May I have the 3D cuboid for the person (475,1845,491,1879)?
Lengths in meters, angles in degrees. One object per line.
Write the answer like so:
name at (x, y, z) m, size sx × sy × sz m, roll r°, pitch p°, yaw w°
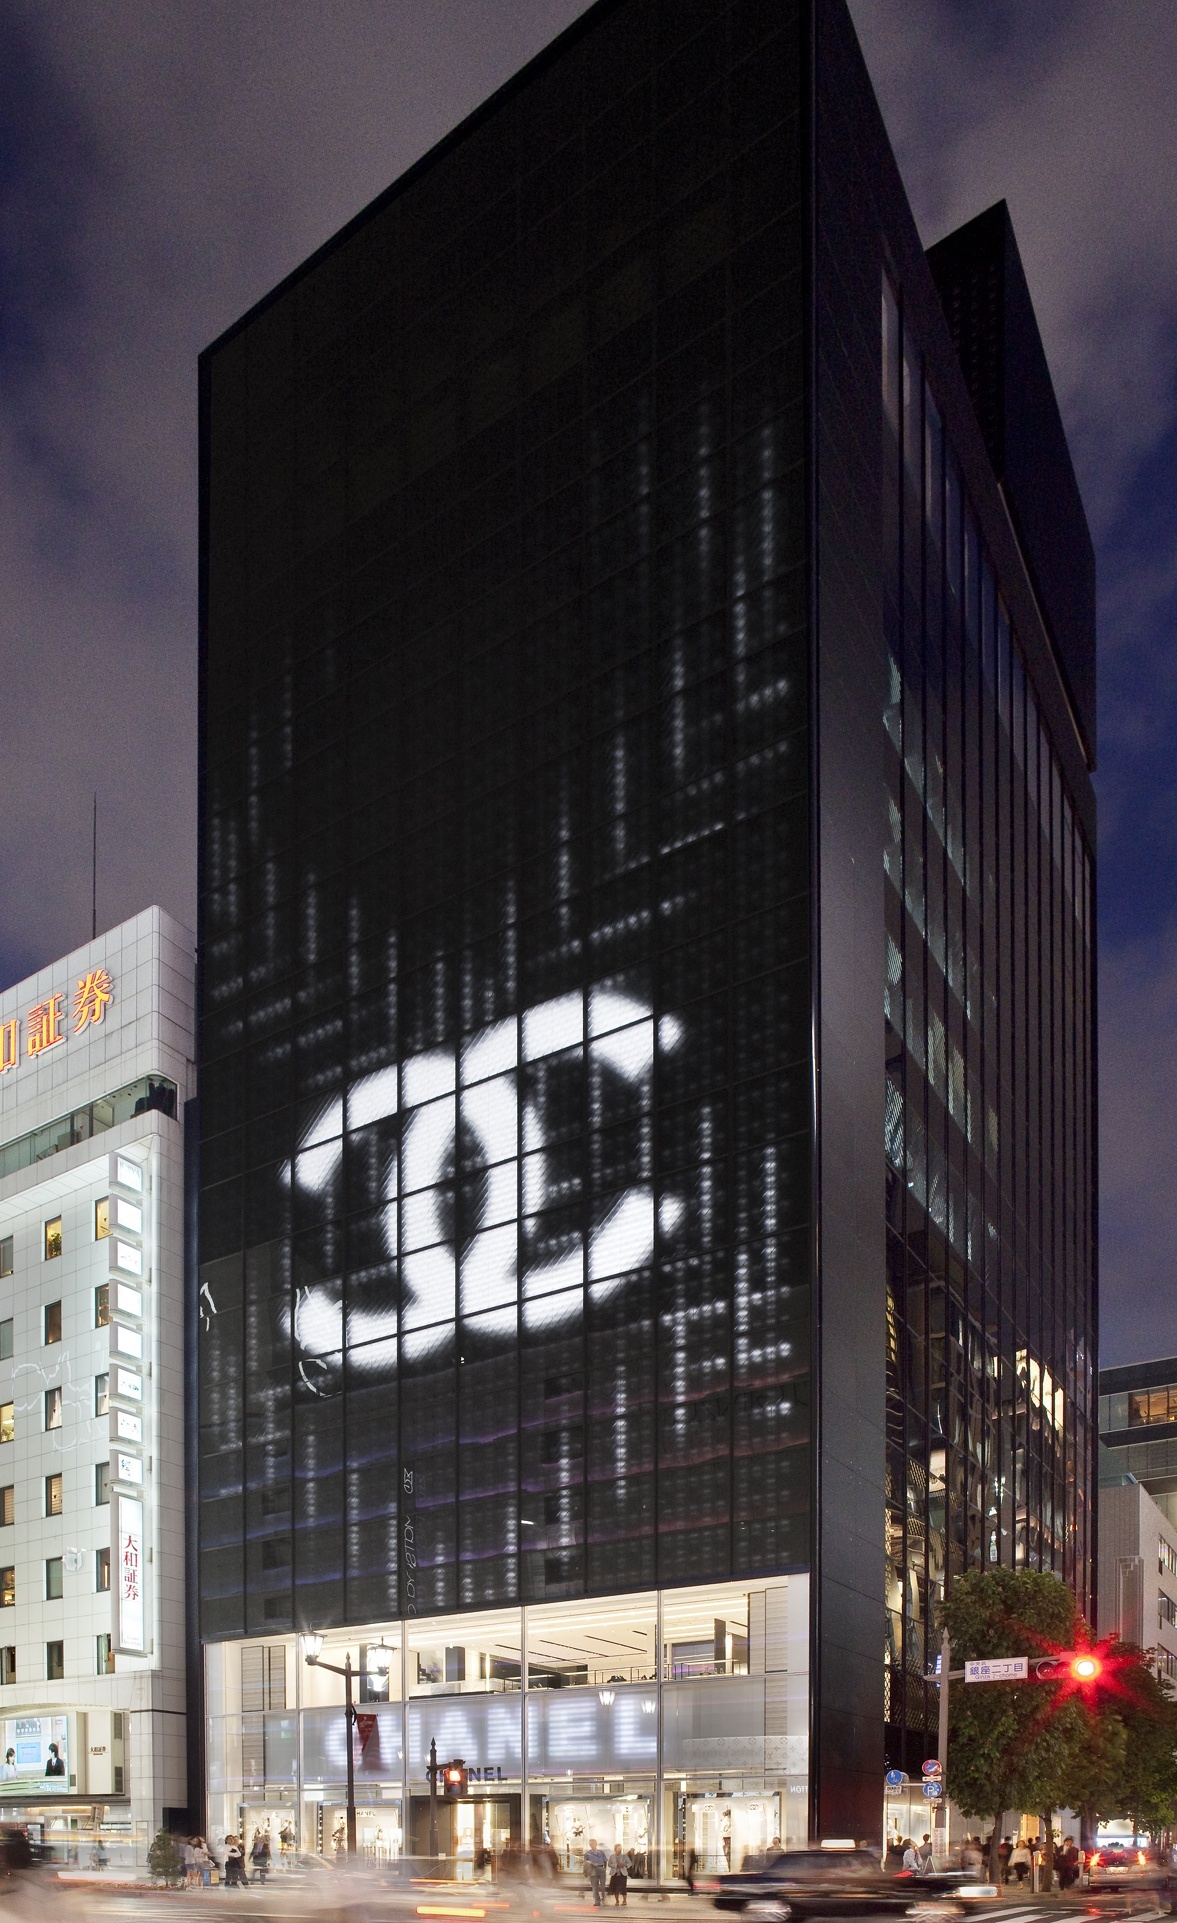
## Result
person at (-2.924, 25.378, 85.083) m, size 0.480 × 1.173 × 0.557 m, roll -5°, pitch -14°, yaw 12°

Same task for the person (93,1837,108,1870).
person at (-15.680, 28.795, 97.599) m, size 0.450 × 1.137 × 0.531 m, roll 1°, pitch -11°, yaw -11°
